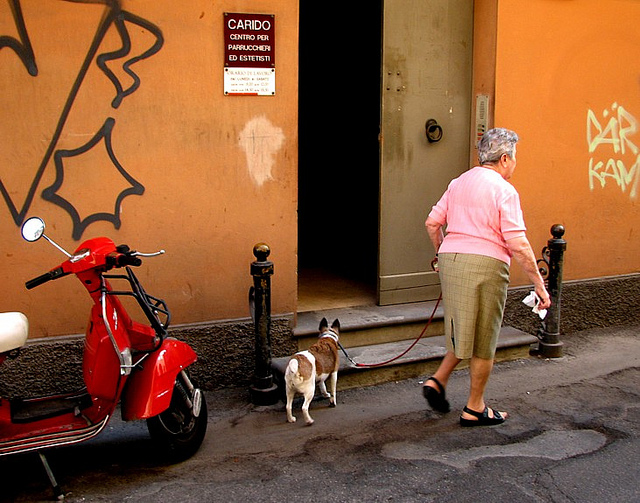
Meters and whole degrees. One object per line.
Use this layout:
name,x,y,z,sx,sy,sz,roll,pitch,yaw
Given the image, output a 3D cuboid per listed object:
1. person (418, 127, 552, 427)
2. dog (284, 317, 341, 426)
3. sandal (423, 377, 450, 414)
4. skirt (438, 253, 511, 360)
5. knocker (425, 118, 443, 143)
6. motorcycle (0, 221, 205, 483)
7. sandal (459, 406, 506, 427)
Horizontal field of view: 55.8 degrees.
person,1.280,0.250,4.817,0.877,2.395,0.536,2,12,9
dog,-0.049,1.004,5.150,0.364,0.764,0.808,4,12,18
sandal,0.947,1.194,4.906,0.130,0.360,0.132,-22,19,20
skirt,1.182,0.440,4.745,0.533,0.885,0.259,2,12,9
knocker,1.285,-1.354,6.785,0.220,0.261,0.074,-5,13,-24
motorcycle,-1.672,0.653,4.289,1.254,1.826,1.279,9,15,37
sandal,1.346,1.368,5.049,0.378,0.160,0.146,-5,6,-10
